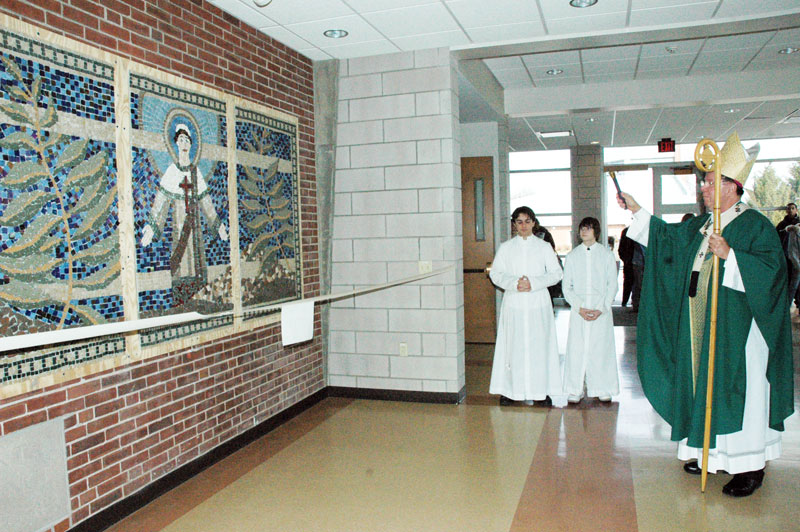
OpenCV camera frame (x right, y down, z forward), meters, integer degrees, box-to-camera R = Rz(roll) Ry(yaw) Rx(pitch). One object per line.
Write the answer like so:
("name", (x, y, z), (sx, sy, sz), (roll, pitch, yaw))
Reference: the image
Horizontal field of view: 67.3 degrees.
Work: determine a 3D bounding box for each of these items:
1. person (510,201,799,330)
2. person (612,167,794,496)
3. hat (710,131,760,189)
("person", (2.306, -0.044, 5.024), (0.829, 1.438, 1.457), (5, -3, -33))
("person", (2.419, 0.472, 4.674), (1.139, 2.361, 0.761), (4, 12, 30))
("hat", (2.553, -0.806, 4.589), (0.283, 0.410, 0.211), (0, 10, 9))
